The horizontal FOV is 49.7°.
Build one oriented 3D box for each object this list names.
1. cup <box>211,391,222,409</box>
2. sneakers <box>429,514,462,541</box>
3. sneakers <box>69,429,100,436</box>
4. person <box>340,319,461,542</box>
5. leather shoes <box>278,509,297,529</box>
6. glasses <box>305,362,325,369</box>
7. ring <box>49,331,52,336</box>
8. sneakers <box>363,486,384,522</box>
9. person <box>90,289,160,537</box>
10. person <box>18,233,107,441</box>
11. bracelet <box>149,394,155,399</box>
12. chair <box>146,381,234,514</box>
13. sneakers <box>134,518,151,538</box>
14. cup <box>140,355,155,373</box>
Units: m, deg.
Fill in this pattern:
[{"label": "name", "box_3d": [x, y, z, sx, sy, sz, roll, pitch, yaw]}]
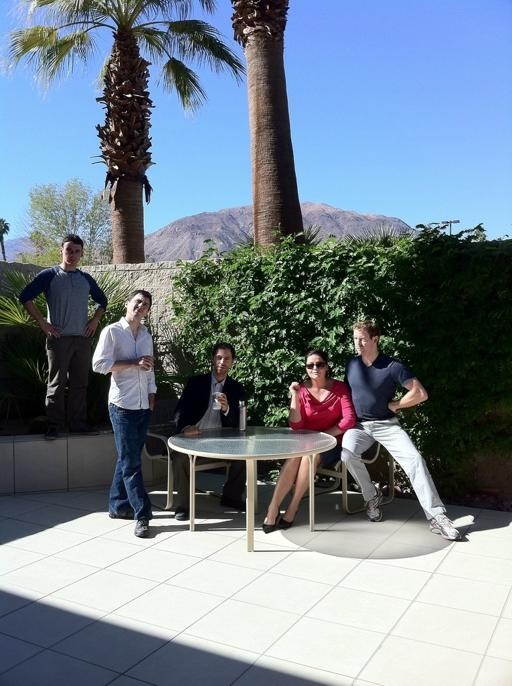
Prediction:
[{"label": "cup", "box_3d": [-0.319, 0.475, 4.467, 0.092, 0.146, 0.151, 1, 3, -16]}, {"label": "sneakers", "box_3d": [1.281, 1.258, 3.813, 0.098, 0.111, 0.259, -4, 1, -19]}, {"label": "sneakers", "box_3d": [-1.546, 0.805, 5.027, 0.249, 0.089, 0.089, 1, 0, -2]}, {"label": "person", "box_3d": [0.978, 0.550, 3.964, 0.652, 1.379, 1.451, -1, -1, -16]}, {"label": "leather shoes", "box_3d": [0.215, 1.278, 4.010, 0.076, 0.047, 0.134, 0, 5, 19]}, {"label": "glasses", "box_3d": [0.462, 0.173, 4.266, 0.144, 0.057, 0.069, 0, -3, 4]}, {"label": "ring", "box_3d": [-1.734, -0.087, 4.678, 0.021, 0.042, 0.012, 2, 4, -1]}, {"label": "sneakers", "box_3d": [0.901, 1.231, 4.216, 0.121, 0.268, 0.100, 24, -28, -32]}, {"label": "person", "box_3d": [-0.941, 0.475, 4.007, 0.410, 1.707, 0.552, 1, -3, -9]}, {"label": "person", "box_3d": [-1.636, -0.050, 4.876, 0.531, 1.710, 0.654, -1, -3, 18]}, {"label": "bracelet", "box_3d": [-0.775, 0.397, 4.172, 0.047, 0.049, 0.045, -1, -4, -2]}, {"label": "chair", "box_3d": [-0.639, 0.908, 4.783, 0.769, 0.818, 0.737, 3, 1, 16]}, {"label": "sneakers", "box_3d": [-0.782, 1.275, 3.839, 0.114, 0.096, 0.198, 1, -3, -11]}, {"label": "cup", "box_3d": [-0.778, 0.145, 3.966, 0.090, 0.104, 0.383, 1, -3, -10]}]
